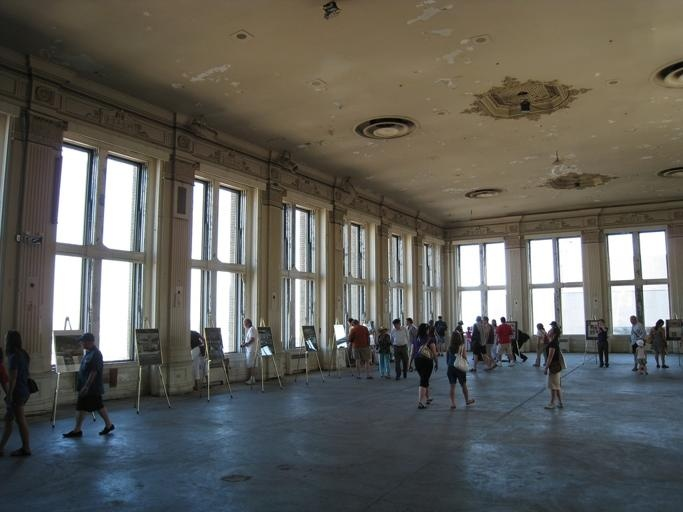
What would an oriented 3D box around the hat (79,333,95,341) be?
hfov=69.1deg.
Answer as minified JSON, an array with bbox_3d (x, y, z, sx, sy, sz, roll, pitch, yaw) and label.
[{"bbox_3d":[-3.827,1.205,7.452,0.205,0.119,0.145,2,4,28],"label":"hat"}]

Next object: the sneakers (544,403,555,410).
[{"bbox_3d":[3.752,2.727,8.999,0.195,0.088,0.073,-3,-9,21],"label":"sneakers"}]

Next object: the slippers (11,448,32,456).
[{"bbox_3d":[-4.185,2.559,6.501,0.220,0.095,0.095,5,-8,-2],"label":"slippers"}]

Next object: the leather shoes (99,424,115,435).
[{"bbox_3d":[-3.567,2.639,7.550,0.229,0.103,0.083,-2,-6,-9],"label":"leather shoes"}]

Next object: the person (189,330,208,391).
[{"bbox_3d":[-3.387,2.401,11.588,0.341,1.327,0.546,1,-7,-16],"label":"person"}]

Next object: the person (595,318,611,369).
[{"bbox_3d":[8.128,2.704,15.539,0.306,1.411,1.358,-4,-8,27],"label":"person"}]

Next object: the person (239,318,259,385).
[{"bbox_3d":[-2.308,2.327,12.297,0.375,1.610,1.278,1,-7,-12],"label":"person"}]

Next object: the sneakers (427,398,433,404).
[{"bbox_3d":[1.686,2.802,9.626,0.073,0.100,0.239,1,-1,19],"label":"sneakers"}]

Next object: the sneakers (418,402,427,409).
[{"bbox_3d":[1.478,2.760,9.236,0.083,0.097,0.249,-2,-4,23],"label":"sneakers"}]

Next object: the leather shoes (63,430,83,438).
[{"bbox_3d":[-3.997,2.633,7.396,0.303,0.121,0.111,3,-10,3],"label":"leather shoes"}]

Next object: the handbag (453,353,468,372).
[{"bbox_3d":[2.175,1.972,9.232,0.116,0.346,0.351,-19,-32,33],"label":"handbag"}]

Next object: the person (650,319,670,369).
[{"bbox_3d":[9.683,2.677,15.210,0.483,1.449,0.486,-5,1,29],"label":"person"}]

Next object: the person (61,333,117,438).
[{"bbox_3d":[-3.910,1.960,7.750,0.700,1.510,1.172,2,-8,-26],"label":"person"}]

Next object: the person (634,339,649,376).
[{"bbox_3d":[8.251,2.739,13.725,0.268,0.911,0.990,-5,-8,30],"label":"person"}]

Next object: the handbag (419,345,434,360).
[{"bbox_3d":[1.571,1.796,9.333,0.200,0.254,0.085,20,-44,-26],"label":"handbag"}]
